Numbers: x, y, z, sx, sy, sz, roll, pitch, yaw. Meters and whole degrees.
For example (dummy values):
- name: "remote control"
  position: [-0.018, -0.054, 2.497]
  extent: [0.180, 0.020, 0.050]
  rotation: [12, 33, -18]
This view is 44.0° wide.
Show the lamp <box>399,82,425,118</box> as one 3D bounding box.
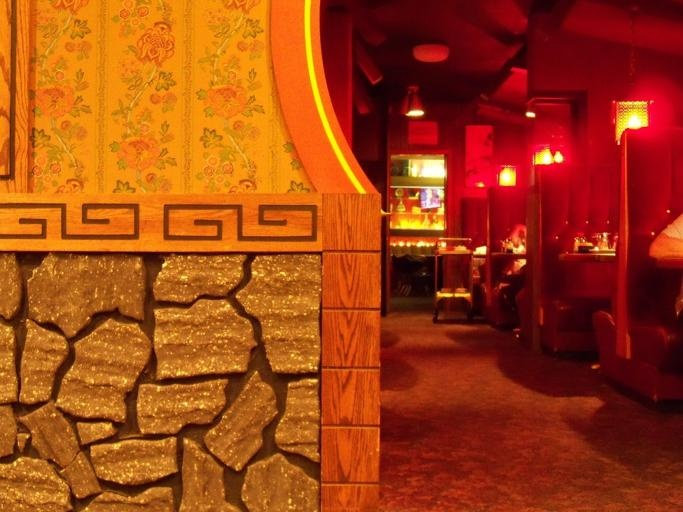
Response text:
- name: "lamp"
  position: [0.857, -1.877, 10.237]
  extent: [0.336, 0.377, 0.355]
  rotation: [0, -11, 5]

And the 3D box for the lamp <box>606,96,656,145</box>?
- name: "lamp"
  position: [2.458, -1.156, 7.198]
  extent: [0.324, 0.380, 0.683]
  rotation: [3, 8, 20]

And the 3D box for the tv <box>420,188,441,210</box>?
- name: "tv"
  position: [1.276, -0.850, 12.171]
  extent: [0.294, 0.301, 0.030]
  rotation: [0, 3, 1]
